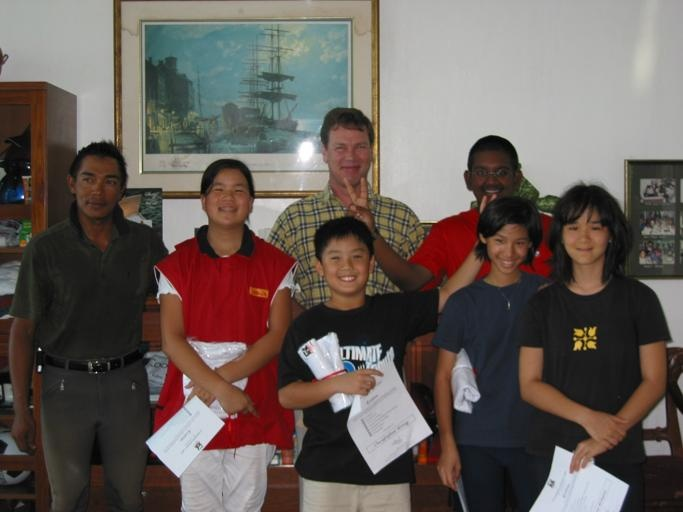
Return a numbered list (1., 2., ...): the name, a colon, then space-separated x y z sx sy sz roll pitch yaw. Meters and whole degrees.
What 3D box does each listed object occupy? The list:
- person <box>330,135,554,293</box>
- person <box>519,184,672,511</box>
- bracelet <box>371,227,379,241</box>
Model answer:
1. person: 0.482 -0.213 2.907 0.714 0.822 0.258 -9 -24 3
2. person: 0.938 0.376 2.299 0.526 1.268 0.318 0 6 16
3. bracelet: 0.143 -0.094 2.640 0.015 0.047 0.035 -13 9 12
